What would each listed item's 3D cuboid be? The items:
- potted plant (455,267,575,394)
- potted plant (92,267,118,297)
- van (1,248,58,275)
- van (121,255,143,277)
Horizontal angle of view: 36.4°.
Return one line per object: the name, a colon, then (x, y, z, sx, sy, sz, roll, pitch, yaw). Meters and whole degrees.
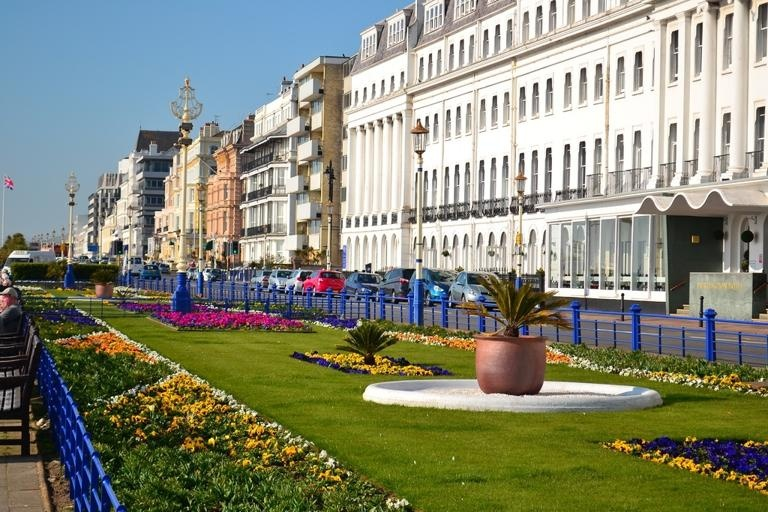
potted plant: (2.969, 1.821, 26.525, 2.206, 2.868, 2.423, 1, -6, 0)
potted plant: (-15.621, 1.537, 65.195, 1.143, 1.485, 1.317, 0, -1, -10)
van: (-28.075, 0.470, 92.743, 3.175, 1.902, 1.834, 2, -4, -27)
van: (-22.465, 0.897, 103.975, 1.337, 1.247, 2.400, 0, 4, -19)
